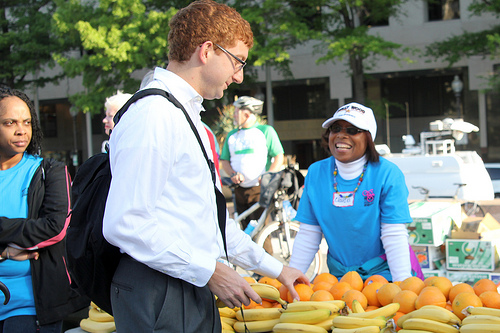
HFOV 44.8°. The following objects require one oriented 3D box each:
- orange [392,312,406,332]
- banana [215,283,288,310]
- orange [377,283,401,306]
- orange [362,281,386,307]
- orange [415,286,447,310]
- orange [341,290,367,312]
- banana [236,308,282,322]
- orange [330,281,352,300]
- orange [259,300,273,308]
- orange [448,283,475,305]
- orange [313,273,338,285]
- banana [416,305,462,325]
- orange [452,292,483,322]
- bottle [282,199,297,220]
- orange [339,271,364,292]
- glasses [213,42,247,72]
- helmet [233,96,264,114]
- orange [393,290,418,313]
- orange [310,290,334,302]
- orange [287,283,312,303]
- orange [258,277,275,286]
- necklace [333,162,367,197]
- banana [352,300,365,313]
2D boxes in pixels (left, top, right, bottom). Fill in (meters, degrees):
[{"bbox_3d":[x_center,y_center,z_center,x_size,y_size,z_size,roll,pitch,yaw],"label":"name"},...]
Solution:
[{"bbox_3d":[1.249,1.292,5.119,0.111,0.114,0.136,-5,-11,40],"label":"orange"},{"bbox_3d":[-0.003,1.068,5.022,0.771,0.234,0.168,-6,31,19],"label":"banana"},{"bbox_3d":[1.197,1.106,5.336,0.211,0.186,0.185,21,-37,-14],"label":"orange"},{"bbox_3d":[1.086,1.111,5.365,0.172,0.179,0.207,-32,-17,18],"label":"orange"},{"bbox_3d":[1.548,1.110,5.168,0.178,0.204,0.224,15,37,43],"label":"orange"},{"bbox_3d":[0.910,1.158,5.310,0.193,0.170,0.162,22,-33,-32],"label":"orange"},{"bbox_3d":[0.043,1.238,5.245,0.463,0.128,0.151,-2,-10,-2],"label":"banana"},{"bbox_3d":[0.818,1.088,5.398,0.165,0.141,0.146,-9,-40,-2],"label":"orange"},{"bbox_3d":[0.147,1.203,5.347,0.079,0.046,0.068,2,9,12],"label":"orange"},{"bbox_3d":[1.817,1.061,5.287,0.168,0.169,0.167,23,17,-28],"label":"orange"},{"bbox_3d":[0.723,1.023,5.739,0.138,0.140,0.165,-34,13,-35],"label":"orange"},{"bbox_3d":[1.559,1.199,4.999,0.284,0.083,0.162,18,14,6],"label":"banana"},{"bbox_3d":[1.815,1.174,5.115,0.211,0.217,0.212,6,-17,-11],"label":"orange"},{"bbox_3d":[0.595,0.633,9.145,0.221,0.282,0.105,-16,8,-33],"label":"bottle"},{"bbox_3d":[0.940,1.040,5.612,0.176,0.211,0.167,-2,-2,4],"label":"orange"},{"bbox_3d":[-0.153,-0.892,4.904,0.209,0.064,0.206,35,-5,-8],"label":"glasses"},{"bbox_3d":[0.027,-1.033,10.079,0.413,0.157,0.293,2,14,-28],"label":"helmet"},{"bbox_3d":[1.331,1.135,5.258,0.210,0.178,0.184,26,-11,6],"label":"orange"},{"bbox_3d":[0.629,1.115,5.272,0.118,0.120,0.114,0,-2,0],"label":"orange"},{"bbox_3d":[0.450,1.098,5.365,0.162,0.169,0.163,-6,-14,-6],"label":"orange"},{"bbox_3d":[0.144,1.033,5.574,0.087,0.091,0.107,-1,-4,31],"label":"orange"},{"bbox_3d":[1.056,0.138,6.252,0.262,0.338,0.084,0,-9,17],"label":"necklace"},{"bbox_3d":[0.918,1.174,5.151,0.039,0.038,0.112,35,18,-13],"label":"banana"}]
